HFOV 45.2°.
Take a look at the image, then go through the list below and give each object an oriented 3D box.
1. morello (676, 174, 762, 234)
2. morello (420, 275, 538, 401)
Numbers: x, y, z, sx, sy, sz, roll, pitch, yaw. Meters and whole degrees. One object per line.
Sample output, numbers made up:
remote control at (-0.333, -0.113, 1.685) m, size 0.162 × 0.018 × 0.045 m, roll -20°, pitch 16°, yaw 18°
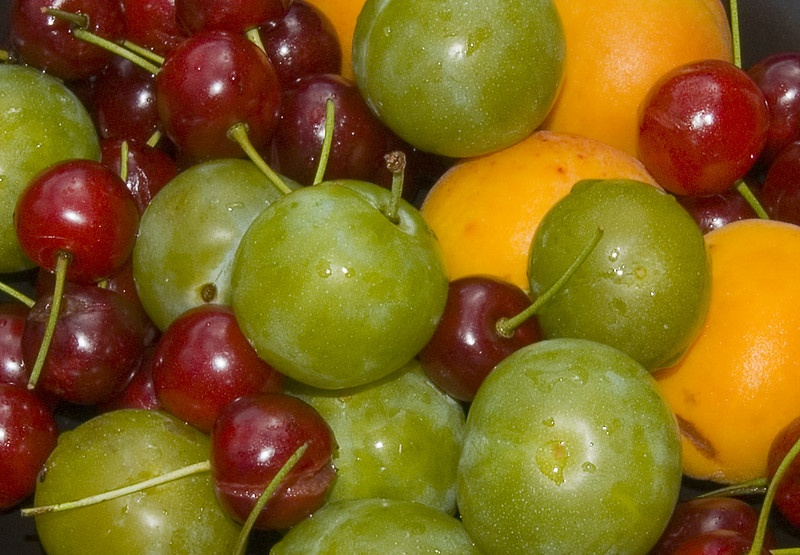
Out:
morello at (0.463, -0.116, 1.395) m, size 0.103 × 0.094 × 0.148 m, roll -10°, pitch -2°, yaw 16°
morello at (0.091, 0.071, 1.260) m, size 0.134 × 0.138 × 0.141 m, roll 29°, pitch 26°, yaw -12°
